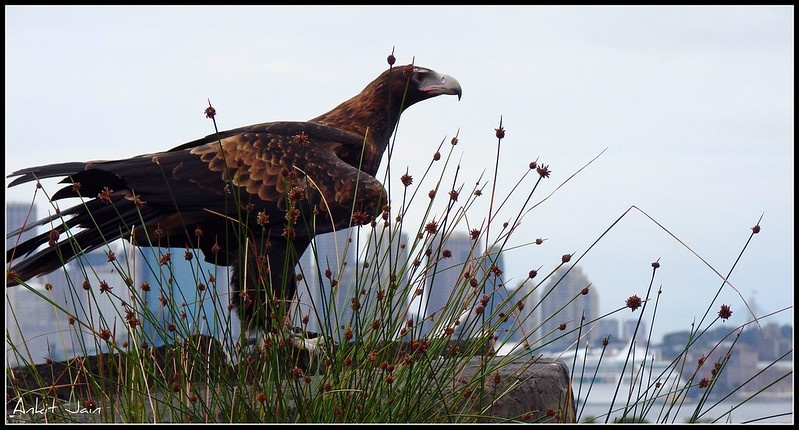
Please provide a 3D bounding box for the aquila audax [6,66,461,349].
[{"bbox_3d":[-0.425,-0.234,8.477,3.205,1.664,1.098,0,-10,-12],"label":"aquila audax"}]
